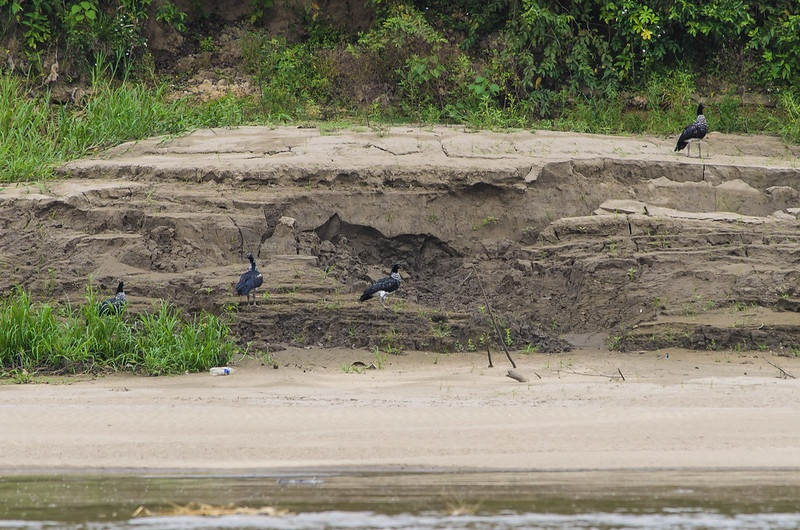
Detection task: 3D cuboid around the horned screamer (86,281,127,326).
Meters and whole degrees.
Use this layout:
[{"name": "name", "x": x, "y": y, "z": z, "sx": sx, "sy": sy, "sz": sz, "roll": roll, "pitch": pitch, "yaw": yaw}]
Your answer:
[{"name": "horned screamer", "x": -5.452, "y": 0.662, "z": 29.294, "sx": 0.832, "sy": 0.820, "sz": 0.471, "roll": -3, "pitch": -8, "yaw": 0}]

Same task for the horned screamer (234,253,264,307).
[{"name": "horned screamer", "x": -2.821, "y": 0.262, "z": 29.586, "sx": 0.406, "sy": 0.890, "sz": 0.595, "roll": 14, "pitch": 24, "yaw": 43}]

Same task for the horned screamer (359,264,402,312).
[{"name": "horned screamer", "x": -0.273, "y": 0.394, "z": 30.051, "sx": 0.623, "sy": 0.731, "sz": 1.109, "roll": 8, "pitch": 11, "yaw": 32}]

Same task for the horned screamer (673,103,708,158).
[{"name": "horned screamer", "x": 6.088, "y": -2.860, "z": 33.720, "sx": 0.635, "sy": 0.984, "sz": 2.133, "roll": 3, "pitch": 10, "yaw": 10}]
